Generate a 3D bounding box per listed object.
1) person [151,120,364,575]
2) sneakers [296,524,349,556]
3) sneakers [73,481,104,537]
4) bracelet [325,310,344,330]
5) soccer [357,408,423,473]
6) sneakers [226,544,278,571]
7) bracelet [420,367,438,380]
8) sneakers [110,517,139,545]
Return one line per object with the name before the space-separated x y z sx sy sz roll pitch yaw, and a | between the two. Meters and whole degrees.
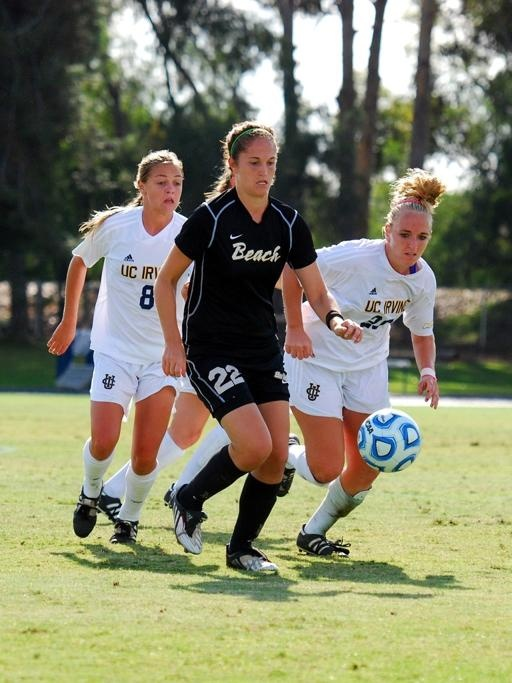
person | -0.048 0.030 4.145 0.835 1.918 0.384 5 1 -6
sneakers | 0.344 1.049 4.853 0.266 0.085 0.107 -2 -4 25
sneakers | -0.893 0.898 4.990 0.112 0.270 0.123 11 -3 -22
bracelet | 0.353 -0.101 4.194 0.079 0.088 0.069 -27 49 -20
soccer | 0.632 0.525 4.837 0.285 0.264 0.263 18 31 16
sneakers | -0.043 0.988 4.276 0.266 0.083 0.089 3 -3 18
bracelet | 0.919 0.169 5.028 0.077 0.041 0.067 1 -3 1
sneakers | -0.688 1.003 4.925 0.107 0.094 0.268 7 -11 -4
